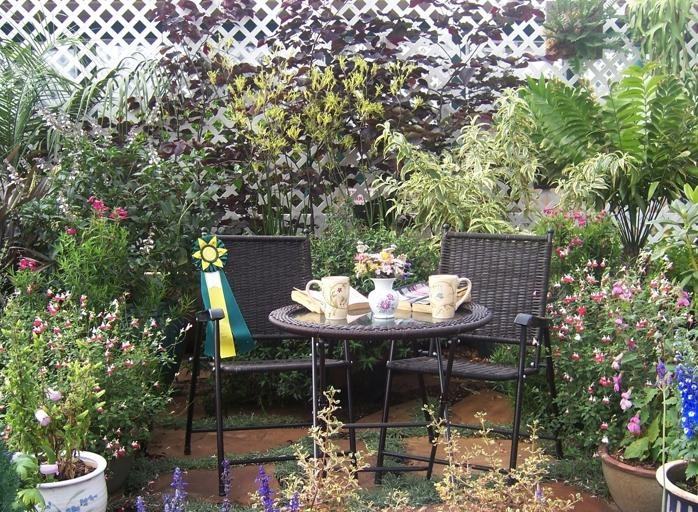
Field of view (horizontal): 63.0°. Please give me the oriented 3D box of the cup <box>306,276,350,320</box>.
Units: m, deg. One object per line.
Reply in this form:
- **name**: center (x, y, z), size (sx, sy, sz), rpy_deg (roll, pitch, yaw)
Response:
- **cup**: center (-0.093, 0.185, 2.615), size (0.180, 0.202, 0.109), rpy_deg (-1, 15, 14)

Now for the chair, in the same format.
- **chair**: center (0.116, 0.597, 3.108), size (1.379, 1.083, 0.576), rpy_deg (-1, -1, -21)
